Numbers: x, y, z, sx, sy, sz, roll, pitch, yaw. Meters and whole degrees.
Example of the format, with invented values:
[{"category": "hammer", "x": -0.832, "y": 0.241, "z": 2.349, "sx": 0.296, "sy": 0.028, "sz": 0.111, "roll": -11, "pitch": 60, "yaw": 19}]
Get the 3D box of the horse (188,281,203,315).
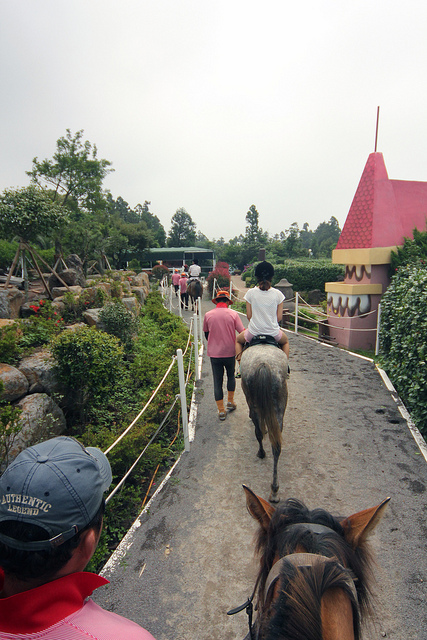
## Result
[{"category": "horse", "x": -0.677, "y": -0.863, "z": 15.678, "sx": 0.428, "sy": 1.168, "sz": 1.402, "roll": -2, "pitch": 9, "yaw": -7}]
